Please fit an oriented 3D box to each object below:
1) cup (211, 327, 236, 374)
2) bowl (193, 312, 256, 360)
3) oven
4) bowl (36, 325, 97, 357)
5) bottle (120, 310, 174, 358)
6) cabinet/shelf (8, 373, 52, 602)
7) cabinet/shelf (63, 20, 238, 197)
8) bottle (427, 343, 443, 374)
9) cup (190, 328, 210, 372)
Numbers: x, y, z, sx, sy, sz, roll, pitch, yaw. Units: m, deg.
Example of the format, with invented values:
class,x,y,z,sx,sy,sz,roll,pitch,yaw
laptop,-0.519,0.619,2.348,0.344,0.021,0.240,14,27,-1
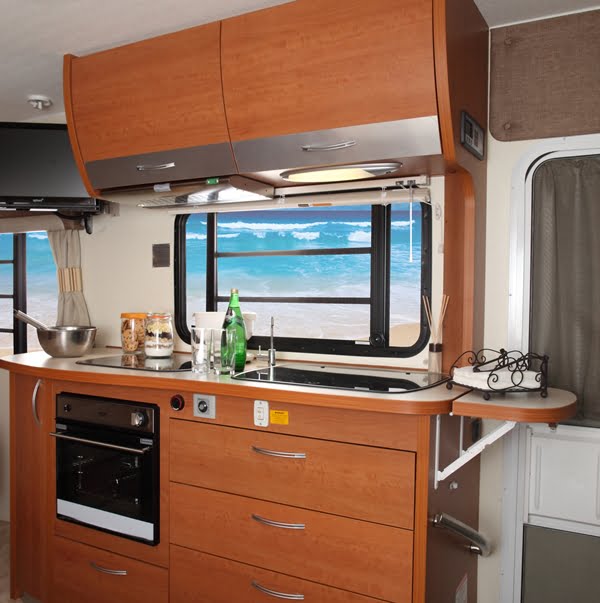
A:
class,x,y,z,sx,sy,sz,roll,pitch,yaw
cup,-0.333,0.206,2.181,0.089,0.175,0.183,-1,0,-16
bowl,-0.389,0.148,2.530,0.223,0.153,0.202,-1,-2,36
oven,-0.751,0.695,2.355,0.651,0.577,0.463,-1,-2,29
bowl,-1.192,0.207,2.665,0.213,0.166,0.279,-1,0,9
bottle,-0.800,0.173,2.677,0.240,0.145,0.106,4,6,36
cabinet/shelf,-1.309,0.893,2.453,0.312,1.174,0.093,-1,1,45
cabinet/shelf,-0.592,-0.887,2.343,0.779,0.521,0.430,-5,1,15
bottle,0.565,0.233,2.141,0.055,0.095,0.075,-1,0,16
cup,-0.426,0.202,2.217,0.078,0.177,0.143,-1,0,-11
